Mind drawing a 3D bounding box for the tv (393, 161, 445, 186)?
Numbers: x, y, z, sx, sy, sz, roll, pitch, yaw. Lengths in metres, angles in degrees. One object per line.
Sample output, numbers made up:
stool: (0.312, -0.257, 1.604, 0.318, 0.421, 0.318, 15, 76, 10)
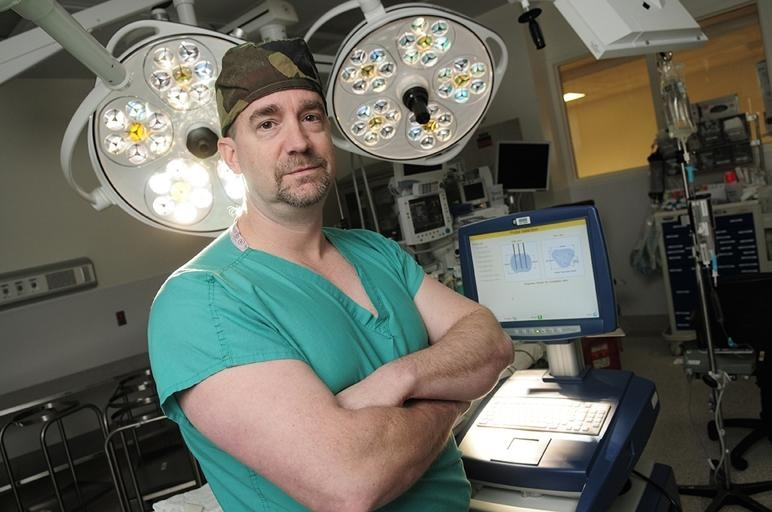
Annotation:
tv: (0.230, -0.596, 4.034, 0.397, 0.289, 0.053, 0, -26, -15)

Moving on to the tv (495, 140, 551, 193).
tv: (1.369, -0.887, 5.459, 0.546, 0.507, 0.077, 1, 6, -3)

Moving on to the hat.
hat: (-0.427, -0.596, 1.896, 0.370, 0.256, 0.342, -12, 6, 33)
